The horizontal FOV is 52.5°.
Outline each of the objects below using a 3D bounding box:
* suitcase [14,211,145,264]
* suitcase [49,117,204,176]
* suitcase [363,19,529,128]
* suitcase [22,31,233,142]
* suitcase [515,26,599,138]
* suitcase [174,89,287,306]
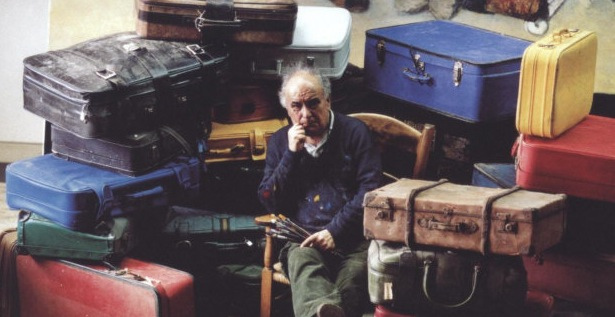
[{"bbox_3d":[-1.830,0.619,4.752,0.611,0.223,0.472,4,1,13],"label":"suitcase"},{"bbox_3d":[-1.461,-0.082,4.796,0.622,0.155,0.606,9,15,26],"label":"suitcase"},{"bbox_3d":[1.049,-0.676,4.761,0.885,0.407,1.070,-20,33,-36],"label":"suitcase"},{"bbox_3d":[-1.410,-0.564,4.721,0.849,0.396,1.182,23,27,40],"label":"suitcase"},{"bbox_3d":[1.782,-0.525,4.441,0.684,0.651,0.260,-25,28,-39],"label":"suitcase"},{"bbox_3d":[-0.633,0.469,5.340,1.150,1.337,0.420,1,2,0],"label":"suitcase"}]
